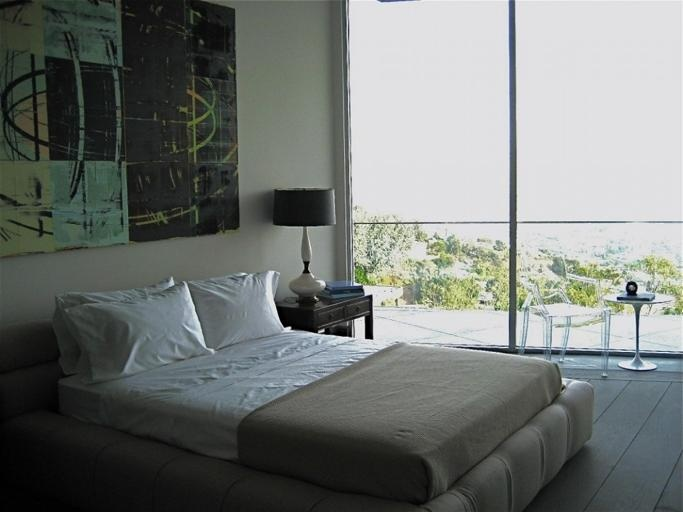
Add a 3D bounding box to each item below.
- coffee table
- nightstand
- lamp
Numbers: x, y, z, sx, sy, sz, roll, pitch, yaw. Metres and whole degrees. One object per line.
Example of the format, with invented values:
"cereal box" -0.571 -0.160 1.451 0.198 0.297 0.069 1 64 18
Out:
"coffee table" 2.804 0.698 4.939 0.658 0.701 0.453 -6 8 -40
"nightstand" -0.121 0.639 4.802 0.444 0.477 0.787 1 8 41
"lamp" -0.325 -0.093 4.633 0.536 0.995 0.472 -1 7 -7
